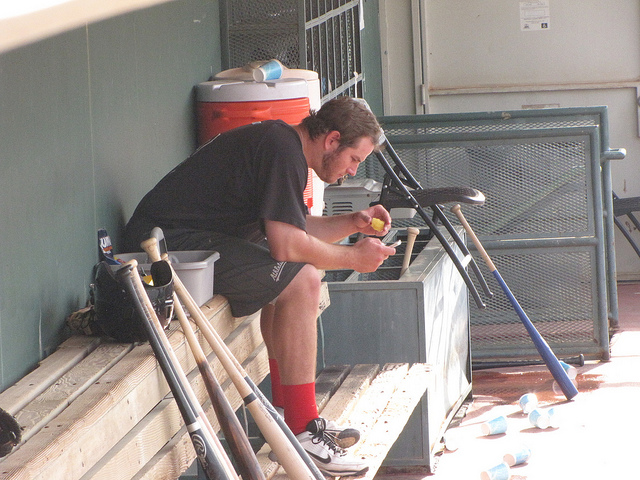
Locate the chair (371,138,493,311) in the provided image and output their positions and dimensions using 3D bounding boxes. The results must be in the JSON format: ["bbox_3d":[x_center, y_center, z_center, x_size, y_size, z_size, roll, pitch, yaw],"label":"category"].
[{"bbox_3d":[0.511,-0.141,3.390,0.607,0.835,0.529,-1,2,38],"label":"chair"}]

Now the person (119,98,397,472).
[{"bbox_3d":[-0.031,0.055,3.060,1.251,1.640,0.964,3,1,-3],"label":"person"}]

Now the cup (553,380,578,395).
[{"bbox_3d":[1.334,0.806,3.884,0.083,0.062,0.082,-2,4,0],"label":"cup"}]

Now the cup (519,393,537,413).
[{"bbox_3d":[1.079,0.834,3.645,0.081,0.087,0.065,20,3,-4],"label":"cup"}]

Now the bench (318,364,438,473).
[{"bbox_3d":[0.193,0.615,2.686,0.360,0.043,0.965,2,9,9],"label":"bench"}]

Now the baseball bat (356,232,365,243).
[{"bbox_3d":[0.226,-0.019,4.034,0.049,0.049,0.050,-7,-12,42],"label":"baseball bat"}]
